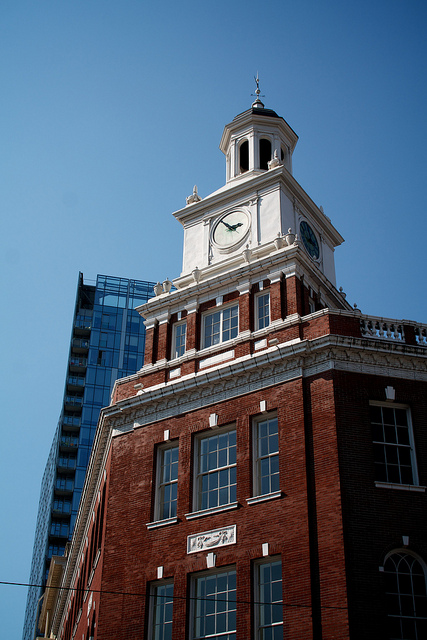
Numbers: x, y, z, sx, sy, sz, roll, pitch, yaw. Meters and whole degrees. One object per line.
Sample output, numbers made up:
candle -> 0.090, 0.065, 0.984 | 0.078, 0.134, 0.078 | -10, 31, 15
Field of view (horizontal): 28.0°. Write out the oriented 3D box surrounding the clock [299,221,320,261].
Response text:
clock -> 4.079, -3.236, 35.906 | 0.169, 1.874, 1.895 | -19, -25, 19
